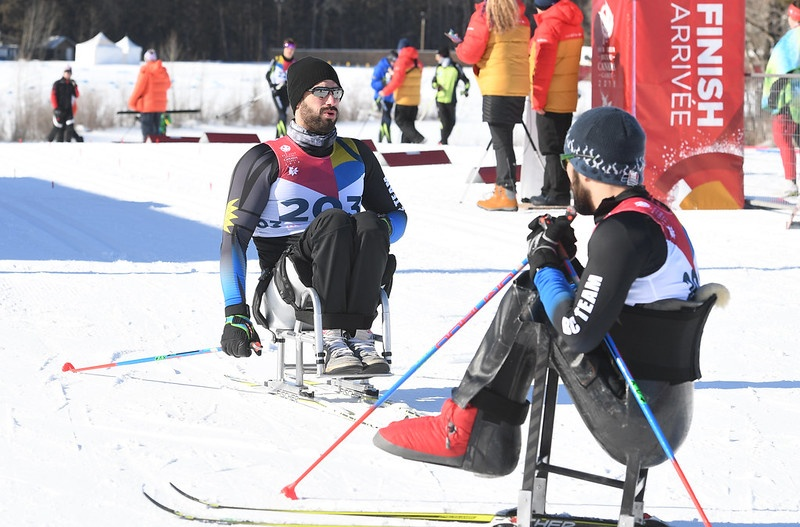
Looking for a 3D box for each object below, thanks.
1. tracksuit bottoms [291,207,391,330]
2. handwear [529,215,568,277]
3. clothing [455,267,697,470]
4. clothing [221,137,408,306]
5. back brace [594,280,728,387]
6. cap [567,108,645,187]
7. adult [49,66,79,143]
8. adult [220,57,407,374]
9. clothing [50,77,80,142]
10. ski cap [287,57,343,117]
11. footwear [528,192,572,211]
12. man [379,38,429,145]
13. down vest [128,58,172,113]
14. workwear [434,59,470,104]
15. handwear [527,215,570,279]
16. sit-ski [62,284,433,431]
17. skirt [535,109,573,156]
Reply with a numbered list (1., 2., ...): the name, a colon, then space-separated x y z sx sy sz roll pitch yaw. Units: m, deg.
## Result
1. tracksuit bottoms: -0.531 0.023 7.812 0.615 0.837 0.802 2 3 -17
2. handwear: 0.898 -0.113 6.506 0.104 0.330 0.307 2 0 33
3. clothing: 1.098 0.658 6.495 1.100 1.103 0.455 3 5 24
4. clothing: -0.632 -0.340 8.015 1.543 1.306 0.721 -5 10 -27
5. back brace: 1.622 0.411 6.565 0.683 0.640 0.590 1 6 21
6. cap: 1.261 -0.722 6.628 0.492 0.482 0.550 -4 11 -25
7. adult: -5.874 -2.700 18.949 0.541 1.512 0.487 6 12 11
8. adult: -0.558 -0.356 7.811 1.398 2.381 1.297 7 -12 -36
9. clothing: -5.840 -2.682 18.955 0.465 1.445 0.453 2 6 -5
10. ski cap: -0.623 -1.279 7.845 0.360 0.367 0.354 -13 1 6
11. footwear: 1.705 -0.687 12.358 0.171 0.233 0.500 -5 11 -42
12. man: 0.078 -2.866 18.550 0.772 1.829 0.815 0 9 -4
13. down vest: -4.368 -3.204 19.340 0.791 1.123 0.839 -6 25 -33
14. workwear: 0.844 -3.000 18.048 0.646 0.769 0.378 5 15 -1
15. handwear: 0.876 -0.100 6.521 0.111 0.352 0.327 0 3 27
16. sit-ski: -1.255 0.780 7.963 3.157 1.291 1.044 -1 2 41
17. skirt: 1.663 -1.373 12.139 0.316 0.638 0.454 -5 4 17
